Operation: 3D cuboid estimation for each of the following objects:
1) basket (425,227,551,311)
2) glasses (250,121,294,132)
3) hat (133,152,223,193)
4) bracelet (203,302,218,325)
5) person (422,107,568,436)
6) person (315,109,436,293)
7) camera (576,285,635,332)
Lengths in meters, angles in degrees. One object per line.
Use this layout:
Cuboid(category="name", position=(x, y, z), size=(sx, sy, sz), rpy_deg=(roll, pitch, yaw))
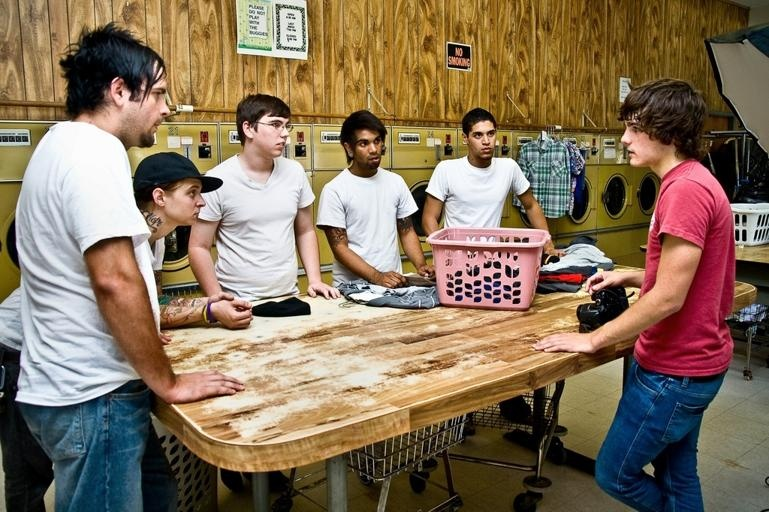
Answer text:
Cuboid(category="basket", position=(0.507, 0.083, 2.665), size=(0.532, 0.307, 0.423), rpy_deg=(-1, 8, 20))
Cuboid(category="glasses", position=(-0.614, -0.722, 3.030), size=(0.108, 0.053, 0.231), rpy_deg=(8, 17, 39))
Cuboid(category="hat", position=(-0.839, -0.297, 2.213), size=(0.276, 0.144, 0.194), rpy_deg=(-14, 7, -15))
Cuboid(category="bracelet", position=(-0.762, 0.257, 2.404), size=(0.042, 0.084, 0.064), rpy_deg=(-13, -21, 21))
Cuboid(category="person", position=(0.781, -0.003, 4.209), size=(0.852, 2.232, 0.715), rpy_deg=(3, 36, 13))
Cuboid(category="person", position=(-0.037, -0.344, 3.413), size=(0.736, 1.117, 0.675), rpy_deg=(-9, 11, -32))
Cuboid(category="camera", position=(0.937, 0.218, 2.357), size=(0.217, 0.108, 0.166), rpy_deg=(-34, 19, 1))
